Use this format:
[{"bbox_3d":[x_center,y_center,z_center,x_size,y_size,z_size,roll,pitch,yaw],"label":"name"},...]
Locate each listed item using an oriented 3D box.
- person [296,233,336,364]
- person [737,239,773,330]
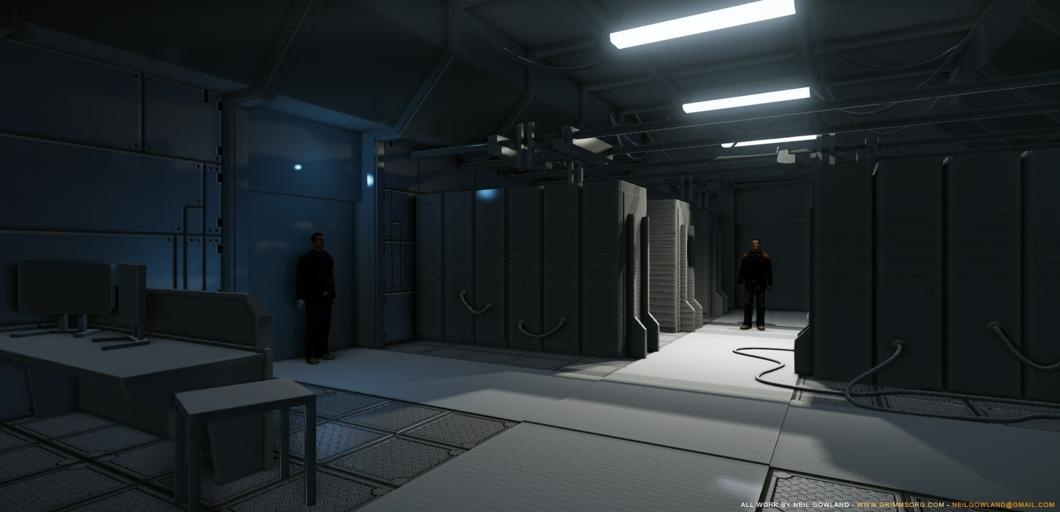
[{"bbox_3d":[-4.732,0.915,12.460,0.778,2.792,0.669,-5,10,-29],"label":"person"},{"bbox_3d":[6.290,0.807,15.721,0.812,2.480,1.064,4,9,20],"label":"person"}]
